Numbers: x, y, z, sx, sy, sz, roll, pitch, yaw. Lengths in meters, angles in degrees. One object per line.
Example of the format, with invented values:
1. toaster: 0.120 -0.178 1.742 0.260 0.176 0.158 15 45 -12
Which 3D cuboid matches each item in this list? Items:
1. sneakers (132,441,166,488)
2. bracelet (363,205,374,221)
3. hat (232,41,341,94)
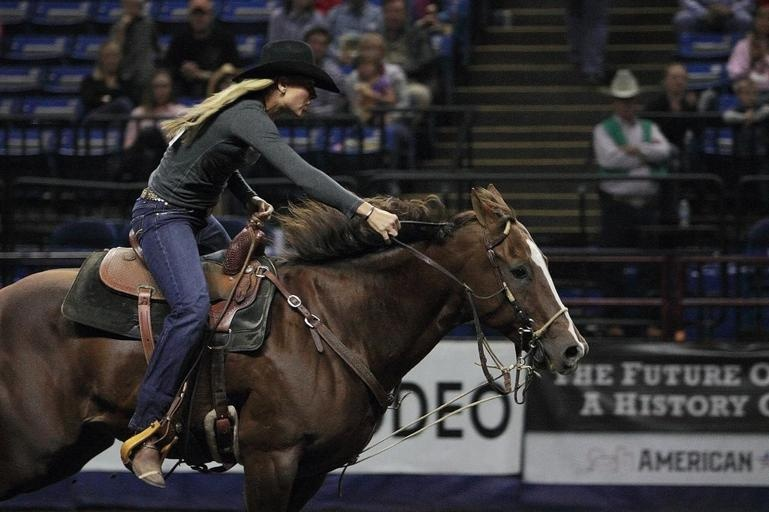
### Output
1. sneakers: -2.222 1.950 20.287 0.316 0.401 0.201 0 12 -8
2. bracelet: -0.158 -0.384 20.227 0.046 0.113 0.089 32 -2 -17
3. hat: -0.865 -1.760 20.533 0.799 0.263 0.547 5 3 -4
